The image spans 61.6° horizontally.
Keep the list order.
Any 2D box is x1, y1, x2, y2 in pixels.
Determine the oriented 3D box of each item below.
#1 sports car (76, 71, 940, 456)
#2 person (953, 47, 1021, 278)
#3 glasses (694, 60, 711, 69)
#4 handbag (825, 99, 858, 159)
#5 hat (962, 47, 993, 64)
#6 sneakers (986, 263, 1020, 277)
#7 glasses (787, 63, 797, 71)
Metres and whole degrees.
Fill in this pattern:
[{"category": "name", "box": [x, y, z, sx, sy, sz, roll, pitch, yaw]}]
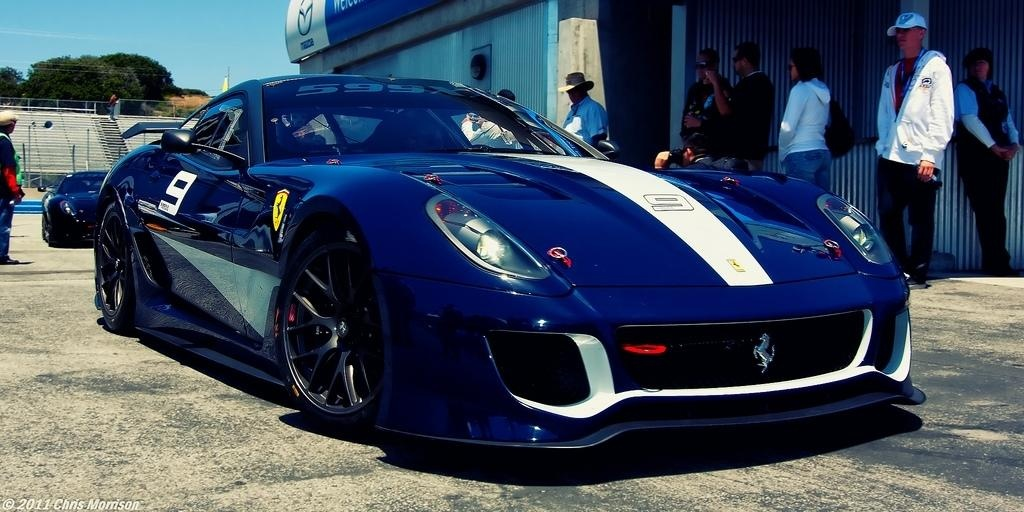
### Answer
[{"category": "sports car", "box": [-0.212, -0.160, 6.290, 5.732, 2.479, 2.266, 3, 8, 27]}, {"category": "person", "box": [5.923, -1.176, 10.766, 0.750, 2.788, 0.523, 3, 7, 24]}, {"category": "glasses", "box": [2.193, -2.214, 9.925, 0.127, 0.046, 0.113, 5, -2, -21]}, {"category": "handbag", "box": [3.642, -1.429, 9.742, 0.430, 0.660, 0.212, -5, 9, -34]}, {"category": "hat", "box": [5.793, -2.480, 10.710, 0.302, 0.094, 0.287, -3, 2, -40]}, {"category": "sneakers", "box": [6.092, 0.184, 10.704, 0.541, 0.185, 0.170, -1, 4, -5]}, {"category": "glasses", "box": [3.184, -2.138, 9.731, 0.081, 0.028, 0.103, 1, 45, 3]}]
